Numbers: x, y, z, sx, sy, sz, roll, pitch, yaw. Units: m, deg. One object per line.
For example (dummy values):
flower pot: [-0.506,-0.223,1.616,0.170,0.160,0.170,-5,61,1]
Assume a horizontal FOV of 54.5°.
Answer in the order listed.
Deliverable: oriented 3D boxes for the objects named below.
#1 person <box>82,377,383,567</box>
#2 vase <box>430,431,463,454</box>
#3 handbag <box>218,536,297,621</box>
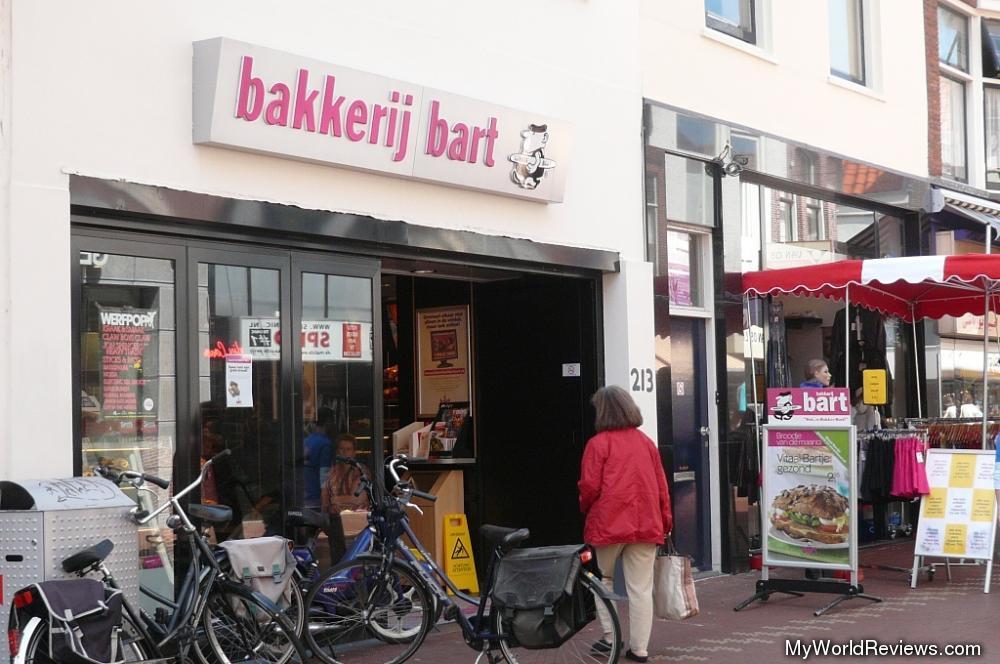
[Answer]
person: [-2.110,1.048,7.833,1.881,1.210,1.096,1,-4,-6]
vase: [-0.609,1.214,10.501,0.336,0.247,0.181,1,-1,17]
handbag: [-1.772,1.744,6.982,0.509,0.514,0.331,3,-12,-42]
